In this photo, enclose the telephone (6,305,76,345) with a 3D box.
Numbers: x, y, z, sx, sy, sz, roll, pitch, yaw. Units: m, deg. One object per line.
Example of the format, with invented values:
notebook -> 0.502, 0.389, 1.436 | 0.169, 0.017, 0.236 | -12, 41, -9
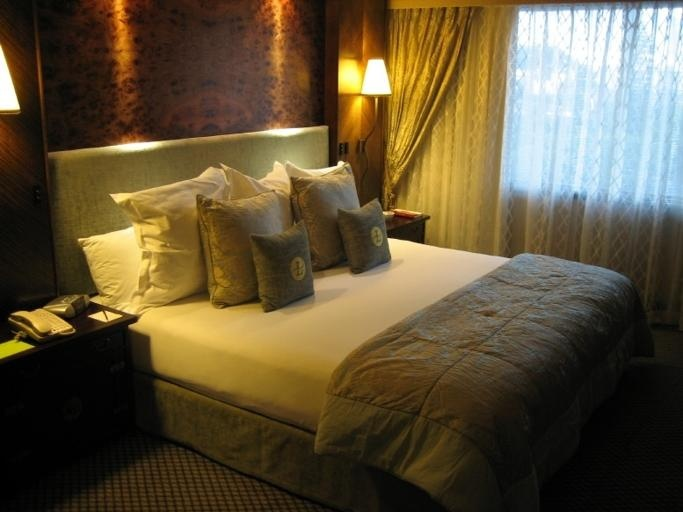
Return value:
telephone -> -1.567, 0.347, 2.844 | 0.313, 0.108, 0.228 | 14, 22, 35
